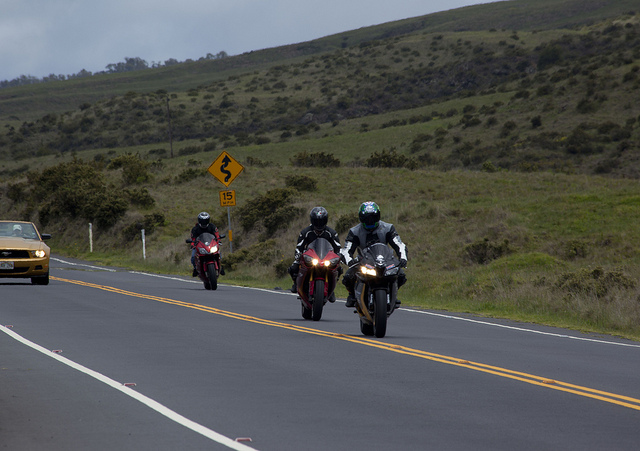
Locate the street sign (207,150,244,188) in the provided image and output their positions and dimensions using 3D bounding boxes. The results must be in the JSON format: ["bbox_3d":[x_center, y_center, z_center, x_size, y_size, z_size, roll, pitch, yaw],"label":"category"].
[{"bbox_3d":[-4.076,-2.473,36.107,1.203,1.629,2.884,-1,7,-8],"label":"street sign"}]

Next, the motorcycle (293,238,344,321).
[{"bbox_3d":[-0.051,1.401,21.556,1.123,2.170,0.756,0,6,-1],"label":"motorcycle"}]

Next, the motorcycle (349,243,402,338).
[{"bbox_3d":[1.354,1.533,19.761,1.117,2.230,0.768,1,6,6],"label":"motorcycle"}]

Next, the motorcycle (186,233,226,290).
[{"bbox_3d":[-3.703,1.172,27.711,0.746,1.824,0.778,-1,6,-10],"label":"motorcycle"}]

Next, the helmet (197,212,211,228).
[{"bbox_3d":[-3.897,-0.224,28.245,0.345,0.513,0.629,-1,7,-12],"label":"helmet"}]

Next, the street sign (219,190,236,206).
[{"bbox_3d":[-3.793,-1.147,34.589,0.540,0.654,0.768,0,7,1],"label":"street sign"}]
